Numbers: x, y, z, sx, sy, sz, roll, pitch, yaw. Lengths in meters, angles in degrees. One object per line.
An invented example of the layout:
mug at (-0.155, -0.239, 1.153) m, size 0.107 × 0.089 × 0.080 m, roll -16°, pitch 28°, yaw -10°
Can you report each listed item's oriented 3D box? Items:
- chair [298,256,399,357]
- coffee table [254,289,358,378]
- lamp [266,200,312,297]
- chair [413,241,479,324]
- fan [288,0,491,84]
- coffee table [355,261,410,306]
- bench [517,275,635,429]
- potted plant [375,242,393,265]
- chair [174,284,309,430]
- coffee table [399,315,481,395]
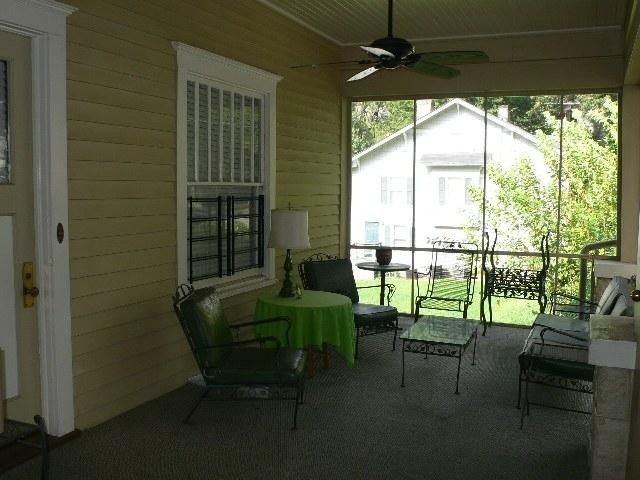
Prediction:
chair at (0.294, 0.748, 6.194) m, size 1.223 × 1.238 × 0.993 m, roll 2°, pitch 3°, yaw 44°
coffee table at (-0.063, 0.861, 4.985) m, size 0.829 × 0.491 × 0.795 m, roll 2°, pitch 1°, yaw 5°
lamp at (-0.328, 0.096, 5.553) m, size 0.407 × 0.911 × 1.040 m, roll 0°, pitch 8°, yaw -3°
chair at (1.821, 0.635, 7.154) m, size 0.813 × 1.157 × 1.130 m, roll 3°, pitch 8°, yaw 17°
fan at (0.857, -2.404, 6.012) m, size 1.418 × 0.552 × 1.412 m, roll 0°, pitch 7°, yaw 6°
coffee table at (0.928, 0.548, 7.128) m, size 0.644 × 0.636 × 0.641 m, roll 1°, pitch 0°, yaw 32°
bench at (2.379, 0.995, 4.719) m, size 0.867 × 1.133 × 1.623 m, roll 4°, pitch 8°, yaw 25°
potted plant at (0.903, 0.225, 7.170) m, size 0.238 × 0.261 × 0.240 m, roll 0°, pitch 3°, yaw 18°
chair at (-0.770, 0.977, 4.685) m, size 1.313 × 1.317 × 0.992 m, roll 1°, pitch 3°, yaw 4°
coffee table at (1.248, 1.303, 5.264) m, size 0.564 × 0.452 × 1.055 m, roll 3°, pitch 5°, yaw 22°
